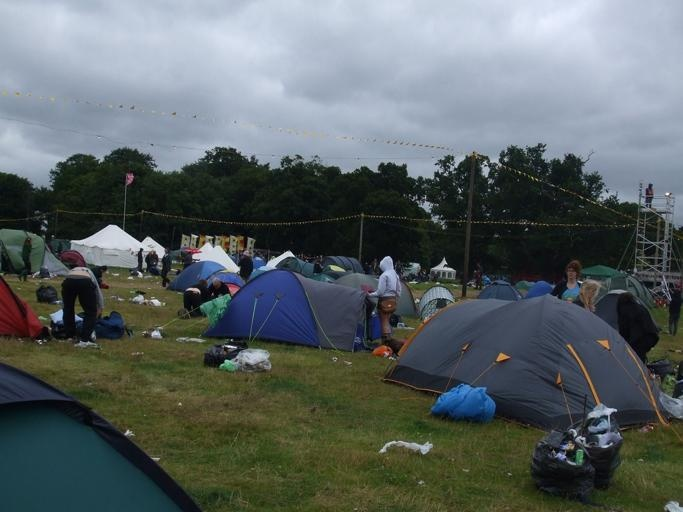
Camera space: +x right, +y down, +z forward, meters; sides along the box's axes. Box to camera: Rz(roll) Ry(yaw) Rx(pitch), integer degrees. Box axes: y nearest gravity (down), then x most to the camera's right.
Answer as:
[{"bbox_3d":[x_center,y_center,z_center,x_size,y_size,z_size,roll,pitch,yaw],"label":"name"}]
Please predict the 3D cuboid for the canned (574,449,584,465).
[{"bbox_3d":[2.831,2.392,7.524,0.119,0.141,0.144,5,6,15],"label":"canned"}]

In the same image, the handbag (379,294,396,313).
[{"bbox_3d":[1.081,1.110,14.691,0.335,0.302,0.361,1,7,-2],"label":"handbag"}]
